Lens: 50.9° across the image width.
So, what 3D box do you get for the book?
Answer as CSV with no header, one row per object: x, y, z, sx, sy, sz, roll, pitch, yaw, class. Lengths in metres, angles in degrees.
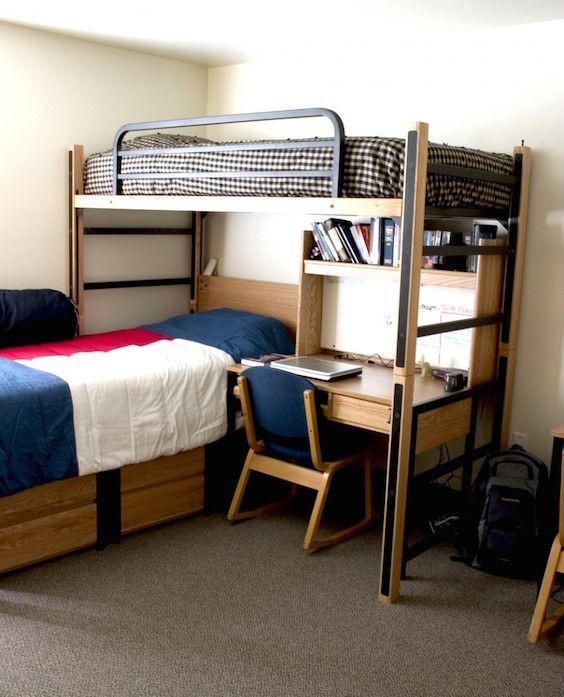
0.574,-0.473,2.644,0.867,0.244,0.411,1,6,-4,book

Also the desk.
0.334,0.398,2.630,1.096,0.751,0.858,6,11,36,desk
